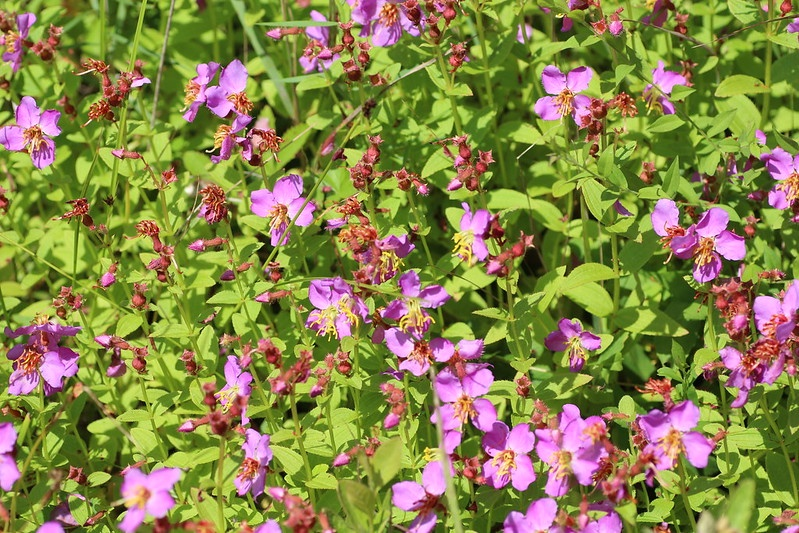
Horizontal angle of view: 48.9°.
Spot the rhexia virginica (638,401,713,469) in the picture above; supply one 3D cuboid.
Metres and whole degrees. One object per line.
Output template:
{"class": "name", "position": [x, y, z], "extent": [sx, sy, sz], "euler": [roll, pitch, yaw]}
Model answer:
{"class": "rhexia virginica", "position": [1.271, 0.819, 4.118], "extent": [0.311, 0.189, 0.296], "euler": [-8, 69, -9]}
